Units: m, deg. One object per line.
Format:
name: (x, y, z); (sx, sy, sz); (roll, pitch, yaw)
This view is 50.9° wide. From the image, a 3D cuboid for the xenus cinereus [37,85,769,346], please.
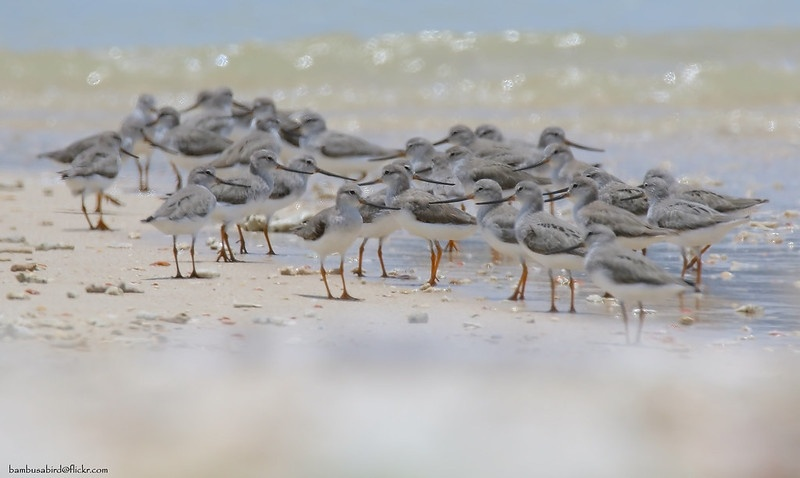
xenus cinereus: (1.974, -1.238, 20.148); (19.760, 5.103, 5.082); (1, 2, -2)
